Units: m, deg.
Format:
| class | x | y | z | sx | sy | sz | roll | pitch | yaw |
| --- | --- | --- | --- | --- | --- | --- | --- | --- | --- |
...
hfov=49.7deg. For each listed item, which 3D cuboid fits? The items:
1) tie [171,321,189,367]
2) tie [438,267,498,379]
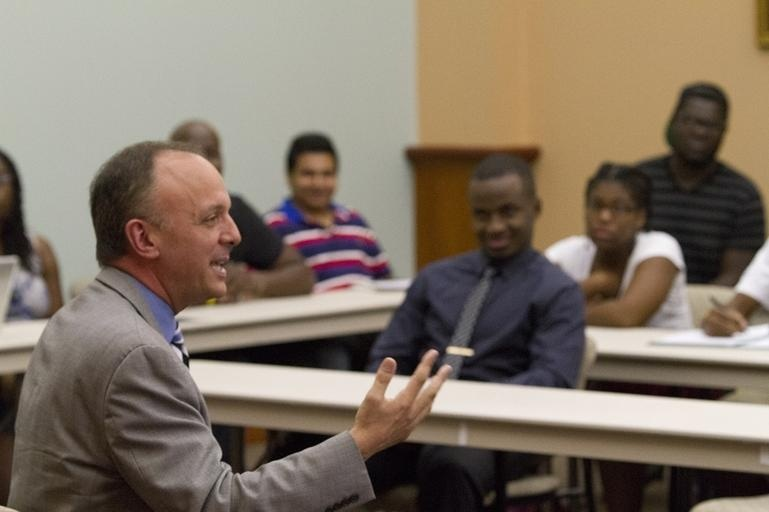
| class | x | y | z | sx | sy | sz | roll | pitch | yaw |
| --- | --- | --- | --- | --- | --- | --- | --- | --- | --- |
| tie | -0.465 | 0.198 | 1.857 | 0.033 | 0.099 | 0.072 | -2 | 50 | -12 |
| tie | 0.244 | 0.227 | 2.609 | 0.086 | 0.523 | 0.049 | 18 | 59 | 5 |
